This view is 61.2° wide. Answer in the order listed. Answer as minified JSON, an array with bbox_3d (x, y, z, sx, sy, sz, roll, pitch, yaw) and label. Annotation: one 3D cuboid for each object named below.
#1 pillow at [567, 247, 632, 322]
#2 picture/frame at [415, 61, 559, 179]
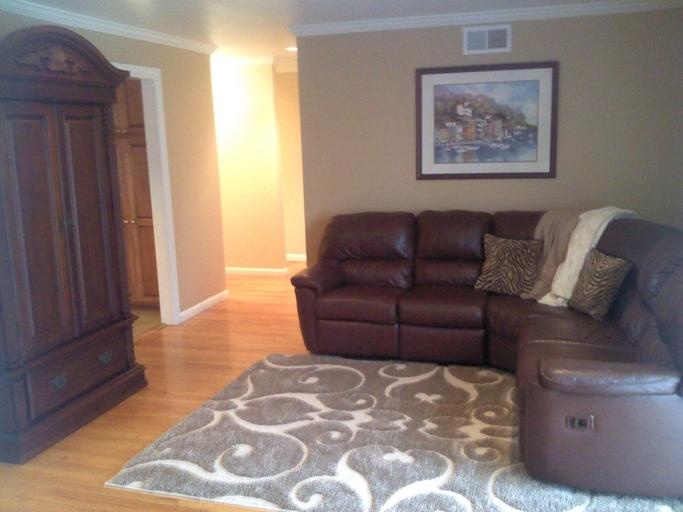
[{"bbox_3d":[1.782,0.218,4.044,0.158,0.420,0.422,10,21,-26],"label":"pillow"},{"bbox_3d":[1.399,-1.296,5.339,1.273,0.876,0.045,0,6,13],"label":"picture/frame"}]
